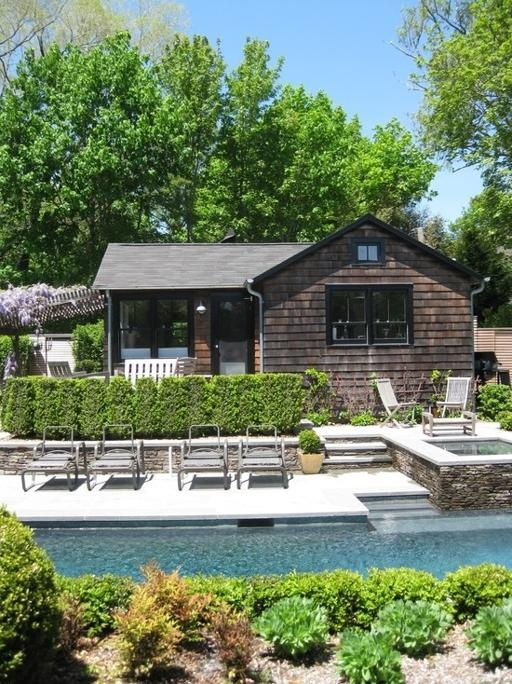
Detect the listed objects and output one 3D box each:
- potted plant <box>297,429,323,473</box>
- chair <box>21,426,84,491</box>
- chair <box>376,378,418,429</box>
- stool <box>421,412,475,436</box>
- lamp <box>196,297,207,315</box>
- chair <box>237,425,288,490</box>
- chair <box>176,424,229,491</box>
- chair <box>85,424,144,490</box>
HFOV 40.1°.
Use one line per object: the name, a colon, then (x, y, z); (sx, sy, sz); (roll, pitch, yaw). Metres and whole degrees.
potted plant: (1.015, 2.045, 13.084); (0.469, 0.777, 0.678); (0, -2, 3)
chair: (-3.433, 1.964, 12.080); (0.796, 0.910, 1.427); (0, 4, -2)
chair: (3.164, 1.351, 16.302); (1.101, 1.415, 0.899); (-3, -2, 28)
stool: (3.876, 1.679, 14.015); (0.752, 0.333, 0.734); (-1, -3, 1)
lamp: (-1.366, -0.880, 17.605); (0.323, 0.432, 0.325); (-1, -3, -5)
chair: (0.100, 1.916, 12.007); (0.858, 0.929, 1.461); (0, -2, 1)
chair: (-0.882, 1.929, 11.904); (0.886, 0.922, 1.461); (0, -1, 0)
chair: (-2.379, 1.930, 11.991); (0.915, 0.940, 1.459); (-1, 2, -11)
